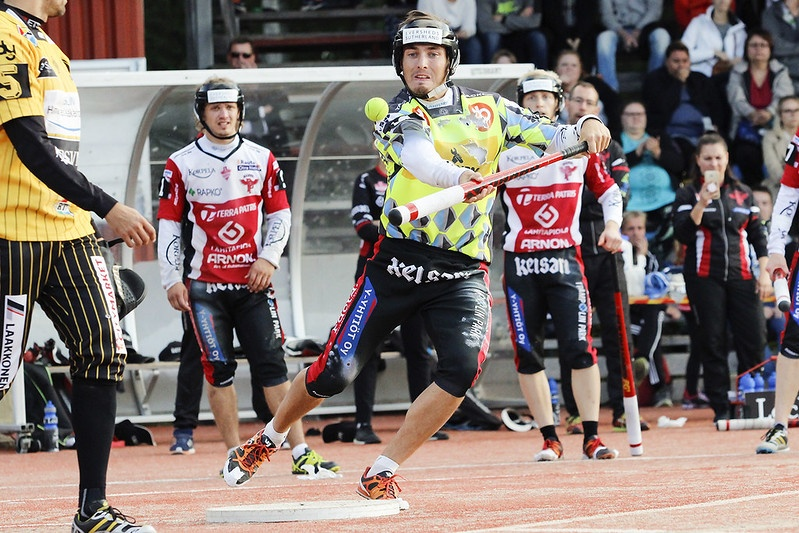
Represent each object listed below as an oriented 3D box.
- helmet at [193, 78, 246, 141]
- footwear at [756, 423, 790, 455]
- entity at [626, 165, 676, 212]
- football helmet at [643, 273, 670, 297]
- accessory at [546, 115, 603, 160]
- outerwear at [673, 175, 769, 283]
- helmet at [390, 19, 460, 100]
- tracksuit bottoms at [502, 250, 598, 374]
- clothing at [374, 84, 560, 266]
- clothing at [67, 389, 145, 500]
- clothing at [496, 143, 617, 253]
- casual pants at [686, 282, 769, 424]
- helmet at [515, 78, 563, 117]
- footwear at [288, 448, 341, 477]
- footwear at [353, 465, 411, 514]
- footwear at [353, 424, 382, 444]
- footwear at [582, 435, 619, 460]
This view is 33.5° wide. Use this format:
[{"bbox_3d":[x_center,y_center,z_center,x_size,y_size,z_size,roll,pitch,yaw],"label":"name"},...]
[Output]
[{"bbox_3d":[-1.478,-1.287,10.797,0.408,0.492,0.489,-1,5,-17],"label":"helmet"},{"bbox_3d":[3.073,1.405,10.890,0.277,0.229,0.169,-1,2,1],"label":"footwear"},{"bbox_3d":[2.934,-0.945,15.556,0.627,0.684,0.437,-2,-10,2],"label":"entity"},{"bbox_3d":[2.689,0.195,13.873,0.201,0.272,0.098,5,4,27],"label":"football helmet"},{"bbox_3d":[1.231,-0.901,9.126,0.287,0.105,0.293,-33,-18,27],"label":"accessory"},{"bbox_3d":[3.177,-0.306,13.387,0.992,1.066,0.935,2,-14,6],"label":"outerwear"},{"bbox_3d":[0.200,-1.471,9.332,0.463,0.585,0.545,1,-3,6],"label":"helmet"},{"bbox_3d":[1.258,0.448,11.295,0.714,1.457,0.455,-4,16,12],"label":"tracksuit bottoms"},{"bbox_3d":[0.348,-0.544,9.420,1.297,1.360,1.186,0,-5,-31],"label":"clothing"},{"bbox_3d":[-2.047,1.202,8.874,0.291,0.998,0.271,13,12,28],"label":"clothing"},{"bbox_3d":[1.287,-0.582,10.905,0.991,0.792,0.348,-1,-1,3],"label":"clothing"},{"bbox_3d":[3.296,0.727,13.278,0.709,1.659,0.469,-3,-1,5],"label":"casual pants"},{"bbox_3d":[1.228,-1.467,11.503,0.295,0.326,0.342,0,-1,7],"label":"helmet"},{"bbox_3d":[-0.688,1.574,10.683,0.445,0.208,0.163,1,1,3],"label":"footwear"},{"bbox_3d":[-0.117,1.511,9.195,0.355,0.265,0.451,-1,2,-1],"label":"footwear"},{"bbox_3d":[-0.305,1.614,12.740,0.123,0.140,0.306,3,-8,-26],"label":"footwear"},{"bbox_3d":[1.658,1.516,11.089,0.135,0.157,0.341,2,-7,-34],"label":"footwear"}]
